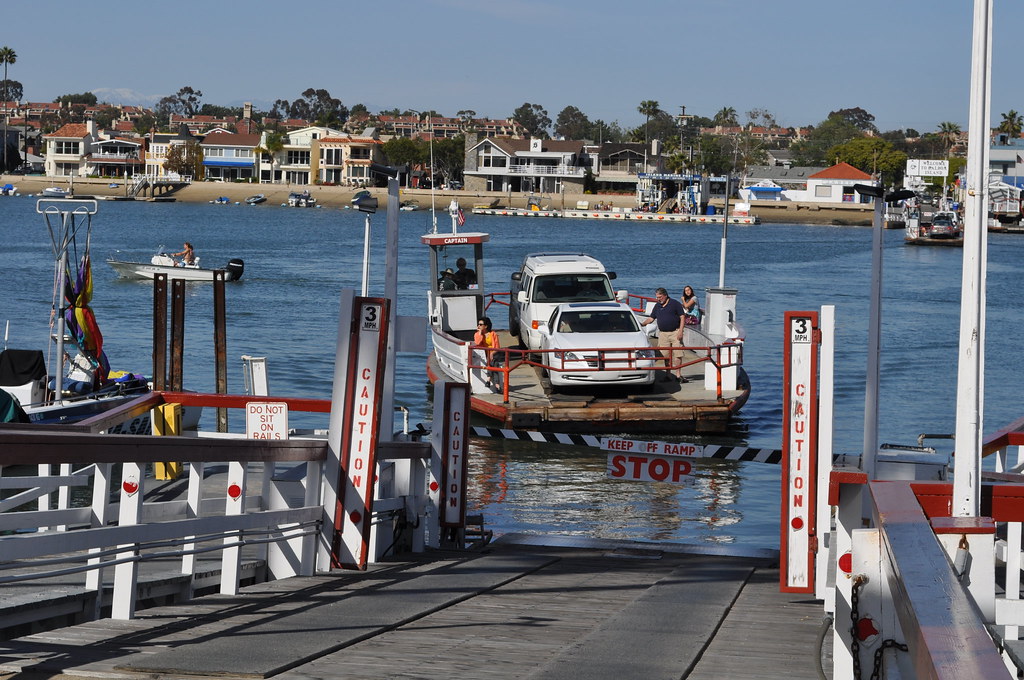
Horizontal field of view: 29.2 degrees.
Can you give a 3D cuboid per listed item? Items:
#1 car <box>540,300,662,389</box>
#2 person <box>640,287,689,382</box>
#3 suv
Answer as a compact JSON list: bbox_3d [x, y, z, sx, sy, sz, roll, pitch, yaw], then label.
[{"bbox_3d":[1.721,0.148,41.088,1.932,1.230,3.488,-1,2,-5],"label":"car"},{"bbox_3d":[3.320,-0.218,42.904,0.888,1.816,0.788,2,0,2],"label":"person"},{"bbox_3d":[1.016,-1.142,46.158,2.223,1.997,5.895,-2,11,-5],"label":"suv"}]
